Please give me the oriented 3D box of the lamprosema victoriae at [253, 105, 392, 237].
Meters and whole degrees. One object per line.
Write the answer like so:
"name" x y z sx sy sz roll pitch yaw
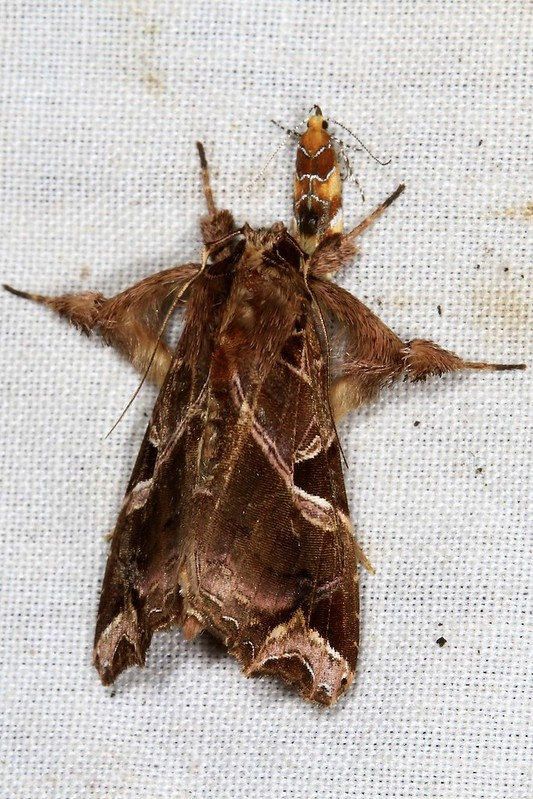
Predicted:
"lamprosema victoriae" 0.122 -0.447 1.924 0.319 0.287 0.091 0 3 9

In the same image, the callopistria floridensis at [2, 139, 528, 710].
"callopistria floridensis" 0.042 0.077 1.892 0.746 0.852 1.418 4 33 10
